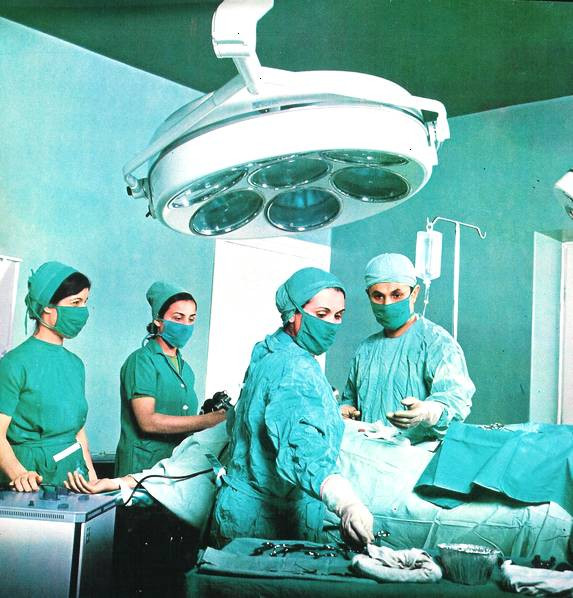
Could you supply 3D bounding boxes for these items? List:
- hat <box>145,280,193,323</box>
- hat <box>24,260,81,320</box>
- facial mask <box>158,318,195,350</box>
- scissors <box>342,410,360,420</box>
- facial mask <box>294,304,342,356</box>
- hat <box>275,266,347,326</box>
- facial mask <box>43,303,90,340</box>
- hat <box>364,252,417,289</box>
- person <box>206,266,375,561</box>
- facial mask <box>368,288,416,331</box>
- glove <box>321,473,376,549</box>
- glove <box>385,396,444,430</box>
[{"bbox_3d":[-0.551,0.013,3.238,0.210,0.143,0.149,-18,-29,20],"label":"hat"},{"bbox_3d":[-0.867,-0.042,2.651,0.178,0.211,0.171,33,16,14],"label":"hat"},{"bbox_3d":[-0.473,0.151,3.119,0.125,0.076,0.121,23,5,43],"label":"facial mask"},{"bbox_3d":[0.238,0.430,2.680,0.050,0.023,0.062,0,-4,9],"label":"scissors"},{"bbox_3d":[0.063,0.085,1.872,0.117,0.094,0.114,28,10,34],"label":"facial mask"},{"bbox_3d":[0.068,-0.023,1.861,0.126,0.117,0.157,-10,10,-26],"label":"hat"},{"bbox_3d":[-0.798,0.094,2.601,0.129,0.070,0.109,1,4,15],"label":"facial mask"},{"bbox_3d":[0.384,-0.103,2.691,0.191,0.131,0.138,-8,-10,6],"label":"hat"},{"bbox_3d":[0.000,0.240,1.687,0.412,0.670,0.574,-6,-10,-10],"label":"person"},{"bbox_3d":[0.399,0.040,2.719,0.126,0.144,0.086,2,-44,16],"label":"facial mask"},{"bbox_3d":[0.134,0.426,1.446,0.057,0.079,0.145,11,32,-47],"label":"glove"},{"bbox_3d":[0.406,0.358,2.238,0.064,0.073,0.180,8,9,31],"label":"glove"}]
